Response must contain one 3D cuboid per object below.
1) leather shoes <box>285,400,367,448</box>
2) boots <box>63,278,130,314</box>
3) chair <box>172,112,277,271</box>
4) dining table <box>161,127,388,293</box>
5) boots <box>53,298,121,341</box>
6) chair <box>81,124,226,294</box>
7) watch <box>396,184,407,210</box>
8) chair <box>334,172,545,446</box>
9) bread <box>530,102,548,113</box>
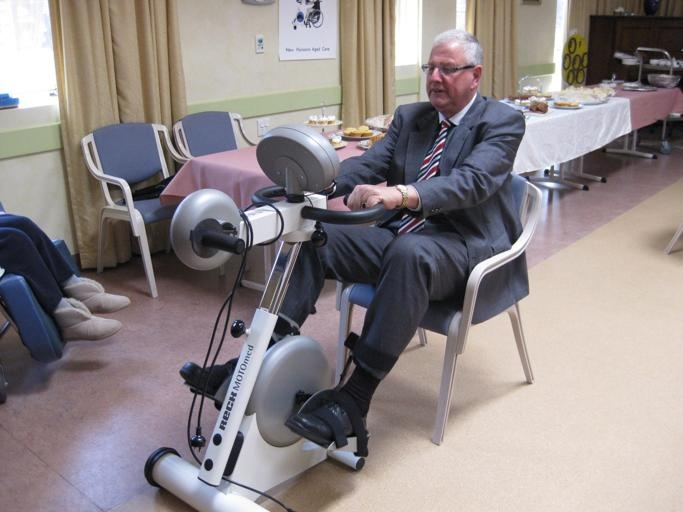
[{"bbox_3d":[-0.052,0.588,1.765,0.238,0.107,0.130,29,3,-45],"label":"leather shoes"},{"bbox_3d":[-1.240,0.225,2.756,0.332,0.135,0.126,21,26,-22],"label":"boots"},{"bbox_3d":[-0.879,-0.735,3.980,0.552,0.787,0.523,-27,37,-37],"label":"chair"},{"bbox_3d":[-0.202,-0.156,1.617,0.630,0.456,0.331,-10,23,-18],"label":"dining table"},{"bbox_3d":[-1.228,0.289,2.565,0.354,0.179,0.117,8,35,-15],"label":"boots"},{"bbox_3d":[-1.207,-0.435,3.917,0.908,1.455,0.933,18,26,32],"label":"chair"},{"bbox_3d":[0.207,-0.206,1.844,0.046,0.074,0.049,-22,29,-40],"label":"watch"},{"bbox_3d":[0.448,0.149,2.353,0.635,0.946,0.671,-14,21,-35],"label":"chair"},{"bbox_3d":[1.568,-1.180,4.192,0.083,0.043,0.109,9,25,23],"label":"bread"}]
